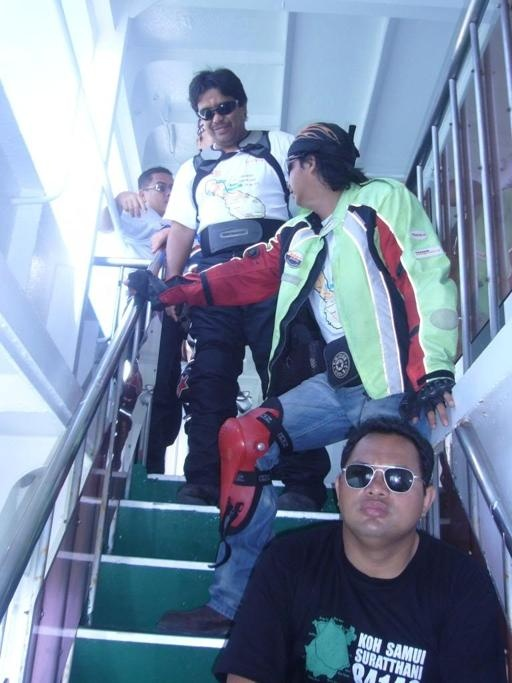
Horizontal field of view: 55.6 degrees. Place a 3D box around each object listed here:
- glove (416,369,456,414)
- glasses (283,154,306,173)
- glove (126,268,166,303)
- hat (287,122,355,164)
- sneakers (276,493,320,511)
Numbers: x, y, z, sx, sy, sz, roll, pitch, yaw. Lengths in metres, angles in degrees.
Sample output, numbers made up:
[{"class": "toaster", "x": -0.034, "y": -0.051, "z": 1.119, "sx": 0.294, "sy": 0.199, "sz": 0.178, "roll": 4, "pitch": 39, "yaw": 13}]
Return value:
[{"class": "glove", "x": 0.375, "y": 0.107, "z": 1.009, "sx": 0.071, "sy": 0.057, "sz": 0.091, "roll": 7, "pitch": 41, "yaw": 8}, {"class": "glasses", "x": 0.121, "y": -0.571, "z": 1.549, "sx": 0.038, "sy": 0.031, "sz": 0.055, "roll": -5, "pitch": 48, "yaw": 25}, {"class": "glove", "x": -0.422, "y": -0.213, "z": 1.912, "sx": 0.167, "sy": 0.114, "sz": 0.064, "roll": 26, "pitch": 5, "yaw": 21}, {"class": "hat", "x": 0.211, "y": -0.614, "z": 1.585, "sx": 0.179, "sy": 0.143, "sz": 0.143, "roll": 21, "pitch": 28, "yaw": 11}, {"class": "sneakers", "x": 0.156, "y": 0.580, "z": 1.729, "sx": 0.126, "sy": 0.050, "sz": 0.101, "roll": 8, "pitch": 7, "yaw": -7}]
